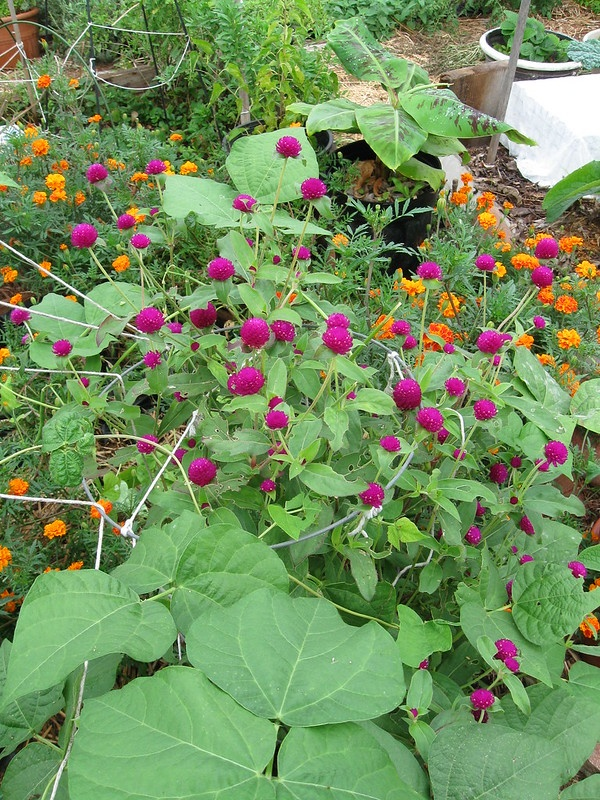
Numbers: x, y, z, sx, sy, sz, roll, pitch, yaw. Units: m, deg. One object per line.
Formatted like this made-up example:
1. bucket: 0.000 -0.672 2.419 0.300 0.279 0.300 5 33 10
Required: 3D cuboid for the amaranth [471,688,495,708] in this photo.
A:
1. amaranth: 0.324 0.535 1.102 0.038 0.034 0.023 -23 18 7
